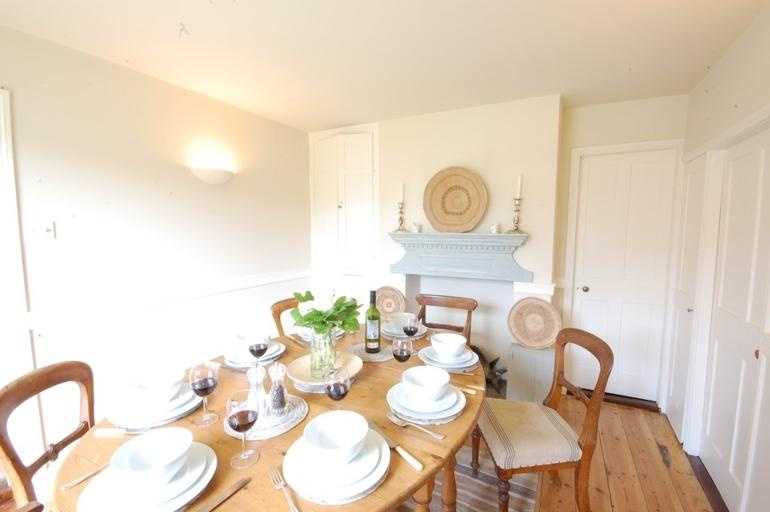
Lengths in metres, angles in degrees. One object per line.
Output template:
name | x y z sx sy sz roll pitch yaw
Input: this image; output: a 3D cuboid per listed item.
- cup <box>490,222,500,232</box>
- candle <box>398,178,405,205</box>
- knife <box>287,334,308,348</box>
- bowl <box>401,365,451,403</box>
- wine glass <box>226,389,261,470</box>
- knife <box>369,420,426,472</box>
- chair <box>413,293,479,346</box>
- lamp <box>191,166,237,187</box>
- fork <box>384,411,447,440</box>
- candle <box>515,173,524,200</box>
cup | 1.021 -0.261 4.704 0.078 0.090 0.085 0 5 0
candle | 0.157 -0.651 5.077 0.051 0.231 0.103 2 6 16
knife | -0.660 0.639 3.804 0.069 0.031 0.226 -10 18 -32
bowl | 0.252 0.795 3.188 0.225 0.094 0.218 -2 1 0
wine glass | -0.832 0.990 2.930 0.162 0.394 0.252 -2 6 -20
knife | 0.031 1.084 2.998 0.113 0.035 0.669 -19 24 -25
chair | 0.596 0.505 4.452 0.546 0.705 0.524 -1 -5 25
lamp | -1.566 -0.735 4.694 0.152 0.153 0.440 3 5 31
fork | 0.182 1.023 3.018 0.308 0.044 0.053 18 27 29
candle | 1.222 -0.635 4.615 0.072 0.229 0.073 2 6 13
